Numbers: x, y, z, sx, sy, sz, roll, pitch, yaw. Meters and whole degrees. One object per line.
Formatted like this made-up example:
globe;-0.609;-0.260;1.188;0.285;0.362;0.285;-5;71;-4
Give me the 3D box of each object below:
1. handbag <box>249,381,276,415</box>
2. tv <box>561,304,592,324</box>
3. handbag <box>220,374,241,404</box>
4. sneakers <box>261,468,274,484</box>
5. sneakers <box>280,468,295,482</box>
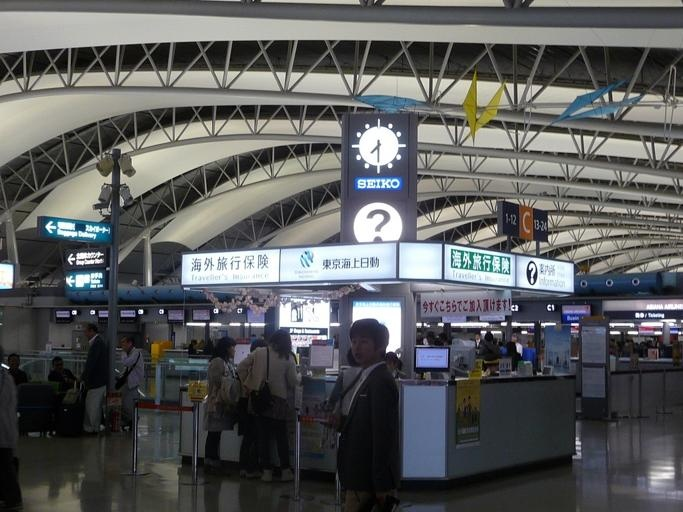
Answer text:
handbag;-1.172;2.096;10.610;0.431;0.665;0.256;-2;2;11
tv;8.733;2.138;26.527;0.151;0.779;1.153;2;-2;-25
handbag;-1.686;1.984;11.013;0.286;0.620;0.479;1;-5;6
sneakers;-1.140;3.322;10.835;0.156;0.192;0.103;0;-6;-2
sneakers;-0.826;3.330;10.930;0.127;0.178;0.242;3;4;22
